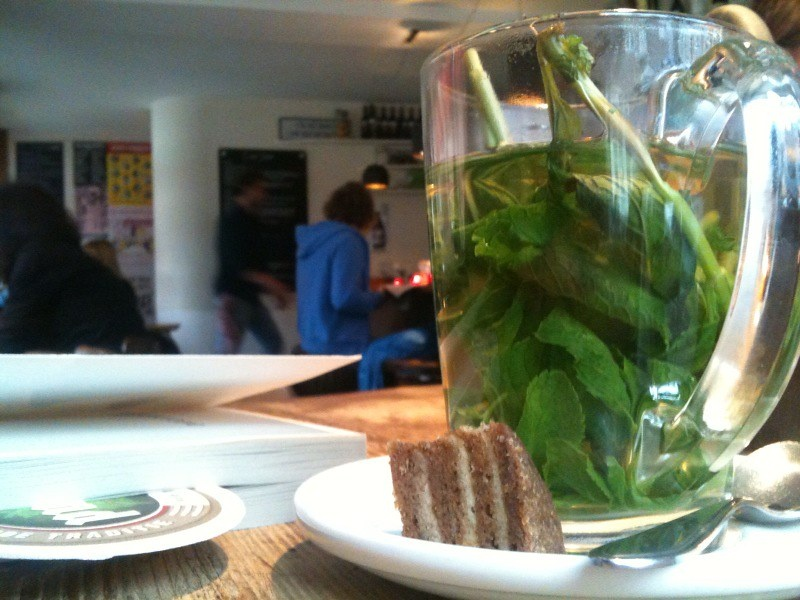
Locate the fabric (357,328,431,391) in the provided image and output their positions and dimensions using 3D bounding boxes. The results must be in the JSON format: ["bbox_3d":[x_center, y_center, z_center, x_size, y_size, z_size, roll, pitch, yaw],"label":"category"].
[{"bbox_3d":[-0.022,0.113,1.550,0.163,0.142,0.114,-3,-4,-22],"label":"fabric"}]
